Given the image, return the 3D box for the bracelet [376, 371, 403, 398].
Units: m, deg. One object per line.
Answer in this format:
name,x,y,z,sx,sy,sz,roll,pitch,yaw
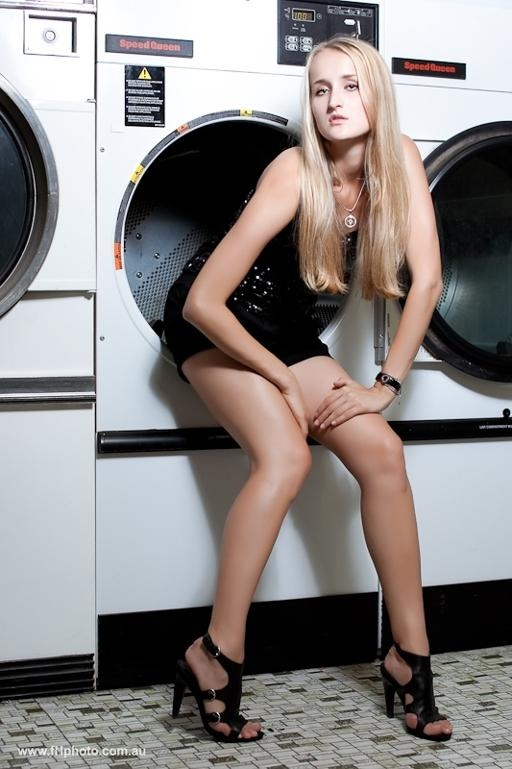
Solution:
bracelet,0.223,-0.005,1.120,0.039,0.035,0.021,32,85,25
